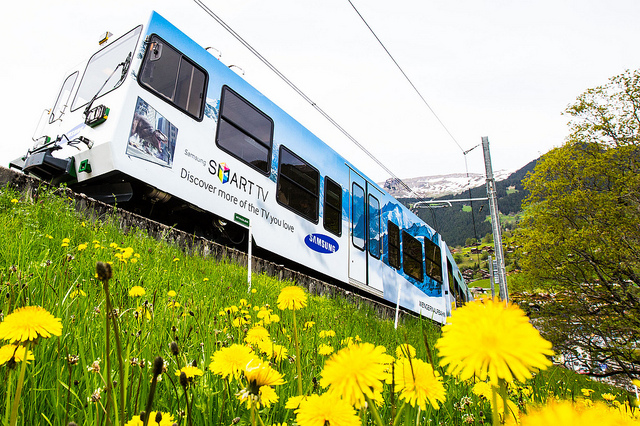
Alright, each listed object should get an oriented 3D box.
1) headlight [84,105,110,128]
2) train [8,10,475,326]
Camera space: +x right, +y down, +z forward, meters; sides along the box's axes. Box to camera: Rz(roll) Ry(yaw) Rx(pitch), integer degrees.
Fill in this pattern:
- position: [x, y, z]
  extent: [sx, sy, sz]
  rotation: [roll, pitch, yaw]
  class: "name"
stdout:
- position: [-3.266, -1.391, 5.847]
  extent: [0.393, 0.331, 0.147]
  rotation: [-10, -27, 26]
  class: "headlight"
- position: [-0.594, 0.330, 10.300]
  extent: [3.536, 3.917, 11.586]
  rotation: [-21, -32, 34]
  class: "train"
